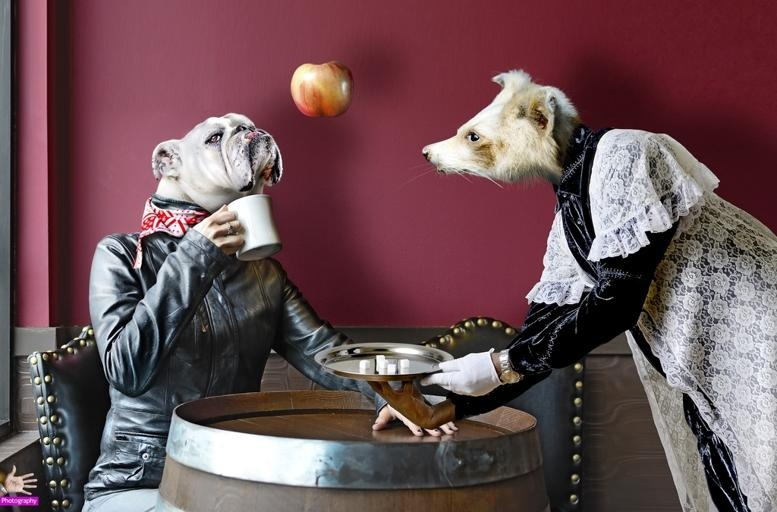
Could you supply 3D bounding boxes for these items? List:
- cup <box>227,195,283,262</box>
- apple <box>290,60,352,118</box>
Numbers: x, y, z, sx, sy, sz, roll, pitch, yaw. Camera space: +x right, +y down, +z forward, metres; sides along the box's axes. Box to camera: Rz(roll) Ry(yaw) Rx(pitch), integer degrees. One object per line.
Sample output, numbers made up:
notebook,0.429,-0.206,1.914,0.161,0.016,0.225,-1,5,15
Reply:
cup,-0.337,-0.065,2.129,0.106,0.160,0.168,-1,-22,-39
apple,-0.196,-0.491,2.420,0.140,0.138,0.167,-1,12,5
